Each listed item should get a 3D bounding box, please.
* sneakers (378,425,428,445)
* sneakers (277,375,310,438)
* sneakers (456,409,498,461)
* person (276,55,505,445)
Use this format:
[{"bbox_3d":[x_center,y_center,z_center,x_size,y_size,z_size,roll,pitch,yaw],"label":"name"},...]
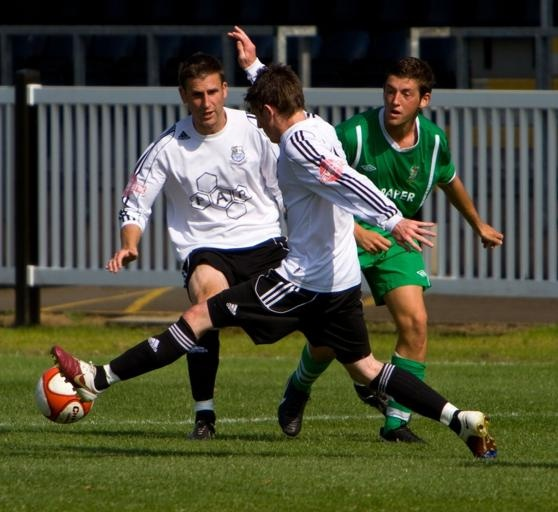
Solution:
[{"bbox_3d":[0.708,1.039,8.395,0.244,0.124,0.096,-2,0,22],"label":"sneakers"},{"bbox_3d":[0.091,0.915,8.642,0.105,0.162,0.385,20,33,-16],"label":"sneakers"},{"bbox_3d":[1.069,1.015,7.788,0.130,0.316,0.134,-14,24,37],"label":"sneakers"},{"bbox_3d":[0.590,-0.007,8.765,1.231,2.516,1.191,2,15,7],"label":"person"}]
